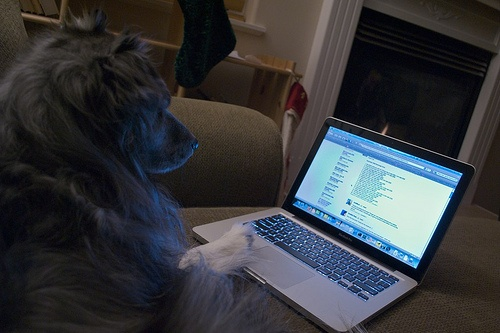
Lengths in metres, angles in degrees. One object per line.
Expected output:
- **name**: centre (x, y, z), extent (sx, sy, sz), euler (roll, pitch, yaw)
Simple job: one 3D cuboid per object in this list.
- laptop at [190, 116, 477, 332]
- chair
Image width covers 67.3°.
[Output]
- **laptop**: centre (0.189, 0.156, 0.831), extent (0.445, 0.287, 0.430), euler (9, 20, -44)
- **chair**: centre (-0.283, -0.041, 0.963), extent (0.522, 0.523, 0.543), euler (8, 12, 36)
